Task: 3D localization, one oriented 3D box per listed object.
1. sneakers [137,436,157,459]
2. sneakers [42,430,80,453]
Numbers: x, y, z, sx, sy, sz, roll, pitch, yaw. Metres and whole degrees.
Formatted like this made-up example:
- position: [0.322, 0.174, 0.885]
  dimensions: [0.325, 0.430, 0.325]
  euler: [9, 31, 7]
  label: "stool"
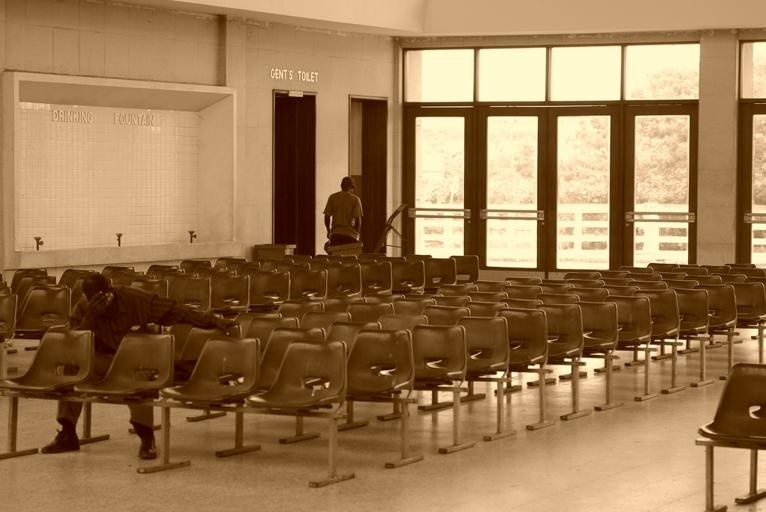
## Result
- position: [-2.040, 1.668, 7.435]
  dimensions: [0.185, 0.180, 0.175]
  euler: [2, -5, -19]
  label: "sneakers"
- position: [-2.867, 1.664, 7.615]
  dimensions: [0.352, 0.154, 0.145]
  euler: [2, -3, -19]
  label: "sneakers"
